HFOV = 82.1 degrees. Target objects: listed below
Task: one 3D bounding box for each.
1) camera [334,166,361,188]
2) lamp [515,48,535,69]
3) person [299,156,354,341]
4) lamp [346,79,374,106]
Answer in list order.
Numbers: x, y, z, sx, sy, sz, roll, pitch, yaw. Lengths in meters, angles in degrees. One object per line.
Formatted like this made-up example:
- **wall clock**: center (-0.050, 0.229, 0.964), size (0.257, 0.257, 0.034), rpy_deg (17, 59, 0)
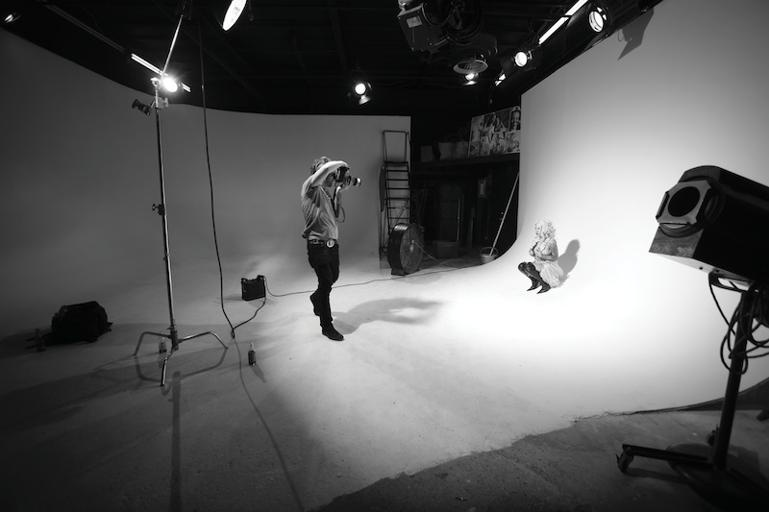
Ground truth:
- **camera**: center (-0.478, -1.039, 5.702), size (0.313, 0.237, 0.119), rpy_deg (10, 39, -18)
- **lamp**: center (2.280, -3.288, 7.304), size (0.246, 0.264, 0.084), rpy_deg (8, 25, 39)
- **person**: center (-0.737, -0.122, 5.609), size (0.605, 2.186, 0.894), rpy_deg (-2, 13, -7)
- **lamp**: center (-0.467, -3.136, 8.422), size (0.372, 0.396, 0.198), rpy_deg (-3, 13, -11)
